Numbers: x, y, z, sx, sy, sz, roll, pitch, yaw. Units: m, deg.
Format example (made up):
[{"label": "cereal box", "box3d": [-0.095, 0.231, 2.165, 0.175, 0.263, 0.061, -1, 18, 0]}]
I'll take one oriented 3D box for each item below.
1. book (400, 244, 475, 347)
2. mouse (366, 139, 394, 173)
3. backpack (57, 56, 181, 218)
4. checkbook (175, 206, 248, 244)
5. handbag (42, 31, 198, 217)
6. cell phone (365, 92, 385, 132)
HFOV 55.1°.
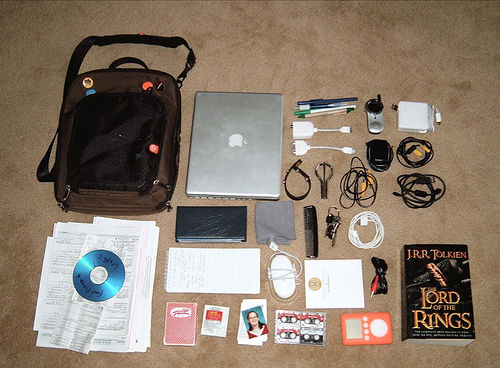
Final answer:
[{"label": "book", "box3d": [0.872, 0.502, 2.223, 0.331, 0.467, 0.119, 0, -14, 1]}, {"label": "mouse", "box3d": [0.643, -0.142, 2.382, 0.131, 0.146, 0.053, 5, -11, 0]}, {"label": "backpack", "box3d": [-0.629, -0.218, 2.399, 0.557, 0.751, 0.229, 2, -6, 3]}, {"label": "checkbook", "box3d": [-0.185, 0.196, 2.342, 0.347, 0.187, 0.048, 4, -17, 1]}, {"label": "handbag", "box3d": [-0.691, -0.270, 2.480, 0.676, 0.986, 0.301, 8, -29, -3]}, {"label": "cell phone", "box3d": [0.638, -0.370, 2.443, 0.103, 0.233, 0.064, 3, -17, 6]}]
